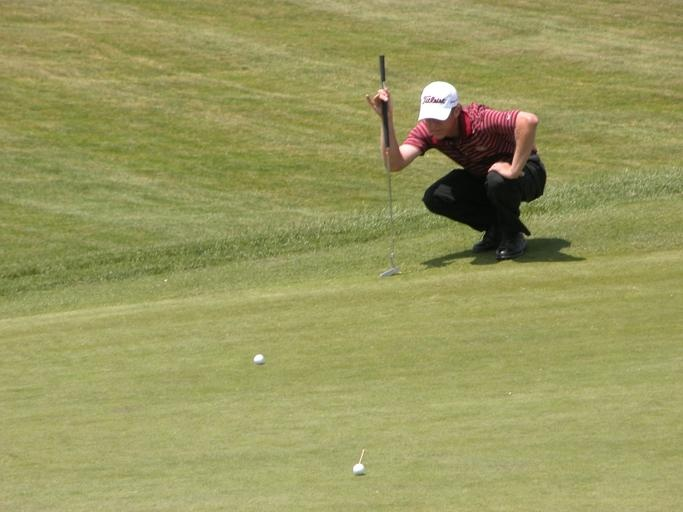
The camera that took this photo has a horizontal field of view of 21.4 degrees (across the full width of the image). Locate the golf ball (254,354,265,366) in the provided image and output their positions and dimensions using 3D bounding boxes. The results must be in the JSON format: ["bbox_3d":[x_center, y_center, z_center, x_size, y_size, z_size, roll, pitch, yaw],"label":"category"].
[{"bbox_3d":[-0.668,0.867,14.457,0.086,0.047,0.079,-1,8,0],"label":"golf ball"}]

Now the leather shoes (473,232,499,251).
[{"bbox_3d":[1.318,-0.099,16.354,0.297,0.123,0.119,-5,11,-15],"label":"leather shoes"}]

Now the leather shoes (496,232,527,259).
[{"bbox_3d":[1.515,-0.050,16.041,0.142,0.136,0.357,3,11,36],"label":"leather shoes"}]

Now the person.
[{"bbox_3d":[1.121,-0.760,16.029,1.380,1.617,0.695,-1,14,4],"label":"person"}]

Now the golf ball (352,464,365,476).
[{"bbox_3d":[0.123,1.651,13.550,0.091,0.076,0.084,-6,1,0],"label":"golf ball"}]

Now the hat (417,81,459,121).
[{"bbox_3d":[0.861,-1.363,15.721,0.276,0.201,0.395,1,24,22],"label":"hat"}]
